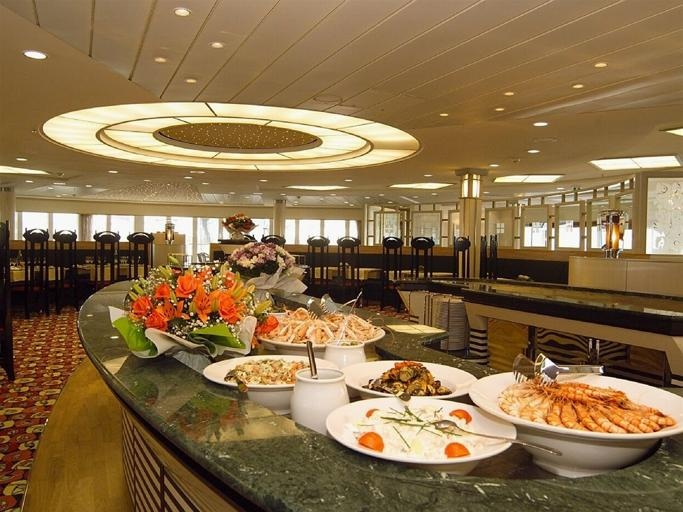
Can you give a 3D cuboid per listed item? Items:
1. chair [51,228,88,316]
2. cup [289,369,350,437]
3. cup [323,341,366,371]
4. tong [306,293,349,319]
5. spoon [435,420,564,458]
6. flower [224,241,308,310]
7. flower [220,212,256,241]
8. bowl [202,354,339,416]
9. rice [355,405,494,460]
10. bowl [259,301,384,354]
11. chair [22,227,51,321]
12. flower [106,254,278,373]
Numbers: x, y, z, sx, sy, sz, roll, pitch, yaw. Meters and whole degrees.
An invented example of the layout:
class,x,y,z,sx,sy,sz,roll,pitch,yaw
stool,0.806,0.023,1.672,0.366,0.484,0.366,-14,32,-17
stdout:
class,x,y,z,sx,sy,sz,roll,pitch,yaw
chair,-6.059,0.397,9.441,0.957,2.118,1.014,2,3,-30
cup,-0.036,0.360,1.060,0.169,0.113,0.141,0,-2,2
cup,0.008,0.321,1.391,0.101,0.059,0.094,-2,-2,0
tong,-0.079,0.268,2.070,0.199,0.047,0.169,9,21,15
spoon,0.311,0.376,0.880,0.251,0.015,0.054,3,3,27
flower,-0.559,0.117,3.256,0.609,0.296,0.512,2,0,8
flower,-1.895,-0.554,7.976,0.990,0.524,0.852,0,1,-5
bowl,-0.269,0.332,1.364,0.479,0.130,0.346,-1,4,-39
rice,0.165,0.363,0.937,0.255,0.050,0.173,1,1,-22
bowl,-0.096,0.278,1.711,0.492,0.148,0.499,3,0,0
chair,-6.262,0.334,8.988,0.702,1.650,0.701,1,-1,-21
flower,-0.558,0.173,1.547,0.508,0.231,0.480,5,-4,-38
